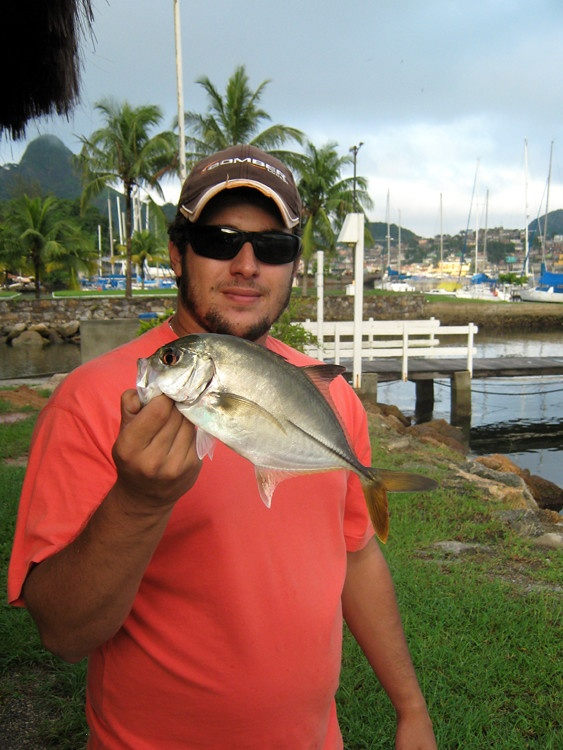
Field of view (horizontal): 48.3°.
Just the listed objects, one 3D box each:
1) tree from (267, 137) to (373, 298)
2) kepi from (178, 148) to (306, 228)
[{"bbox_3d":[1.605,-8.632,35.265,6.278,7.380,5.302,19,-13,-34],"label":"tree"},{"bbox_3d":[-0.109,-0.530,1.722,0.330,0.208,0.433,0,9,-14],"label":"kepi"}]
